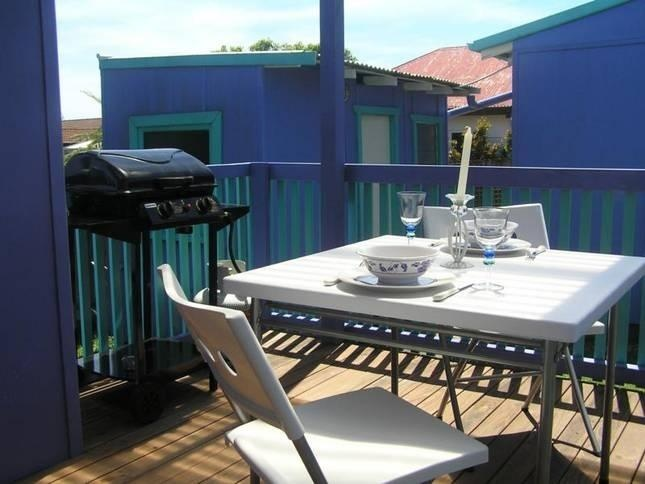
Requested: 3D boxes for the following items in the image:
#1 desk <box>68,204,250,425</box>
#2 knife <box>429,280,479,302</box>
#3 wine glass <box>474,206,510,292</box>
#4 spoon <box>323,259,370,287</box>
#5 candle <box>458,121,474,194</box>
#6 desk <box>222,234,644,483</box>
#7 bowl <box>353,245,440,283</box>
[{"bbox_3d":[-0.806,0.245,3.142,0.908,0.847,0.548,-7,9,-18],"label":"desk"},{"bbox_3d":[0.439,0.137,1.803,0.049,0.019,0.361,18,15,35],"label":"knife"},{"bbox_3d":[0.587,0.027,1.960,0.117,0.280,0.121,-2,12,-17],"label":"wine glass"},{"bbox_3d":[0.097,0.103,2.016,0.057,0.038,0.338,1,5,27],"label":"spoon"},{"bbox_3d":[0.562,-0.320,2.176,0.031,0.250,0.031,7,-1,-7],"label":"candle"},{"bbox_3d":[0.551,0.191,2.053,1.104,0.928,1.133,7,14,36],"label":"desk"},{"bbox_3d":[0.268,0.083,1.935,0.277,0.127,0.301,-1,3,0],"label":"bowl"}]
